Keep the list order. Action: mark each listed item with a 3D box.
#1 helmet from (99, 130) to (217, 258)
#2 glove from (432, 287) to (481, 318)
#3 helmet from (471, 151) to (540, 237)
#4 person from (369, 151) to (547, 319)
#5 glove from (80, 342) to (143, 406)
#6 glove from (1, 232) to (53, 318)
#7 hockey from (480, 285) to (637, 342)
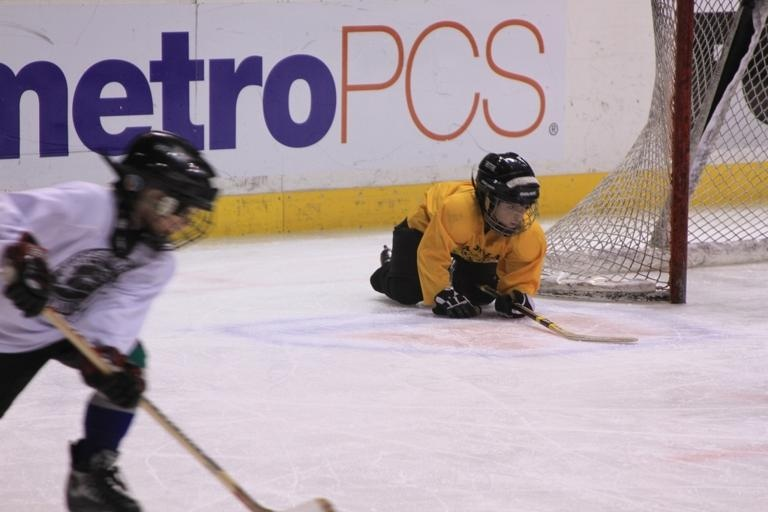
[{"bbox_3d":[-0.574,-0.179,2.971,0.484,0.367,0.330,11,1,0],"label":"helmet"},{"bbox_3d":[0.355,0.236,4.591,0.192,0.052,0.173,19,-7,1],"label":"glove"},{"bbox_3d":[0.558,-0.316,4.465,0.306,0.319,0.371,-9,24,-37],"label":"helmet"},{"bbox_3d":[0.327,-0.069,4.911,0.687,0.672,1.300,5,-3,-24],"label":"person"},{"bbox_3d":[-0.815,0.343,2.821,0.214,0.153,0.065,41,12,1],"label":"glove"},{"bbox_3d":[-1.019,0.054,2.748,0.106,0.211,0.159,-11,-26,8],"label":"glove"},{"bbox_3d":[0.828,0.279,4.304,0.206,0.057,0.943,1,8,-20],"label":"hockey"}]
